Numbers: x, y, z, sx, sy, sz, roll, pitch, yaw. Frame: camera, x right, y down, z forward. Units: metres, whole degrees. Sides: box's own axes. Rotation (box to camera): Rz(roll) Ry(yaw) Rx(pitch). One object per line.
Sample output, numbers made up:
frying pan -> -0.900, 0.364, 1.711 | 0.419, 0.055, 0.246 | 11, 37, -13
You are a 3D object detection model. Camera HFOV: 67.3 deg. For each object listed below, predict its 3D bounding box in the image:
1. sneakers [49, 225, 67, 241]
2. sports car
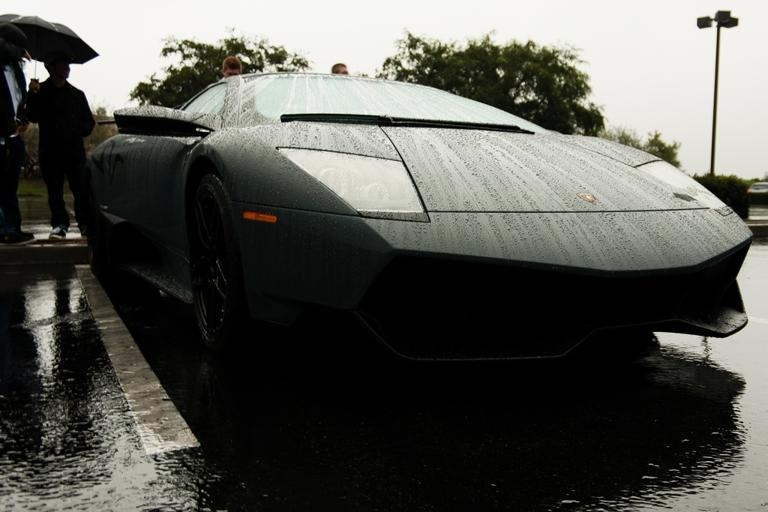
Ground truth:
sneakers -> -4.088, -0.298, 7.210 | 0.132, 0.190, 0.406 | 1, 1, -18
sports car -> 0.006, -0.132, 3.035 | 1.726, 0.921, 2.885 | -1, 7, -34
